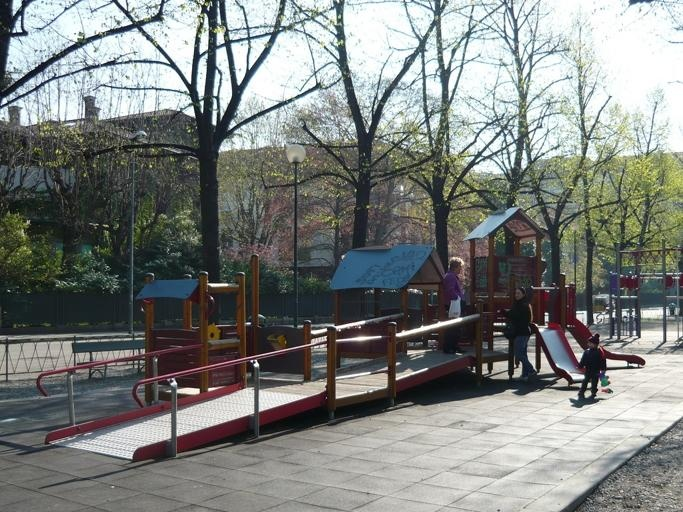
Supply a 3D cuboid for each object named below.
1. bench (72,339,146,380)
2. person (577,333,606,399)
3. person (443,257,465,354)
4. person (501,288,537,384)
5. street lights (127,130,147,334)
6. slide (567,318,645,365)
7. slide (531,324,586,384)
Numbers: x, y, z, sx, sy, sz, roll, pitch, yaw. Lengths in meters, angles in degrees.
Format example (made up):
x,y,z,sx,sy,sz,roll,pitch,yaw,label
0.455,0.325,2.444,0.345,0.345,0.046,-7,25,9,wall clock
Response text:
x,y,z,sx,sy,sz,roll,pitch,yaw,label
-6.644,3.024,27.195,2.248,0.929,0.709,-3,10,-28,bench
6.264,2.792,23.678,0.653,1.539,0.869,4,3,29,person
3.254,1.415,26.489,0.529,2.677,0.893,-1,3,12,person
5.001,2.218,25.833,0.764,2.650,0.908,4,5,-27,person
-9.840,-1.151,44.595,0.871,10.617,0.793,4,3,40,street lights
7.912,2.653,28.150,1.848,1.468,2.187,3,4,36,slide
6.164,2.557,25.997,0.828,2.736,0.938,-13,16,35,slide
